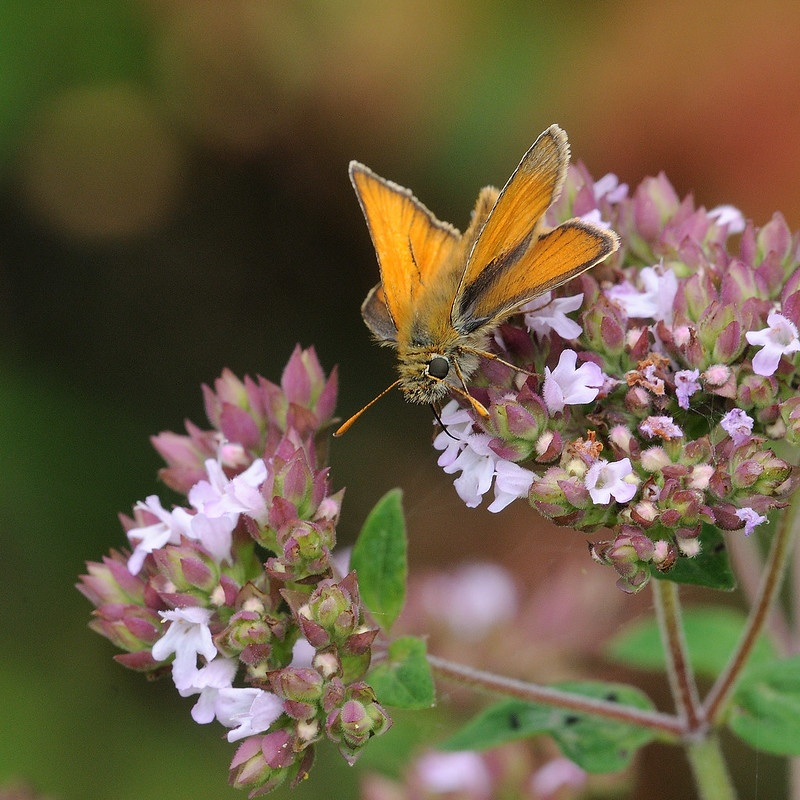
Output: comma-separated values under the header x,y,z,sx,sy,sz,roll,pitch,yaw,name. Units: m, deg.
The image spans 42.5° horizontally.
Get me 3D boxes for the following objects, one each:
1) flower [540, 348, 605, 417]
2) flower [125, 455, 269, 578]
x,y,z,sx,sy,sz,roll,pitch,yaw,name
0.467,-0.045,2.739,0.169,0.164,0.084,-57,-26,-21,flower
-0.554,0.319,2.937,0.373,0.171,0.369,-28,-7,22,flower
